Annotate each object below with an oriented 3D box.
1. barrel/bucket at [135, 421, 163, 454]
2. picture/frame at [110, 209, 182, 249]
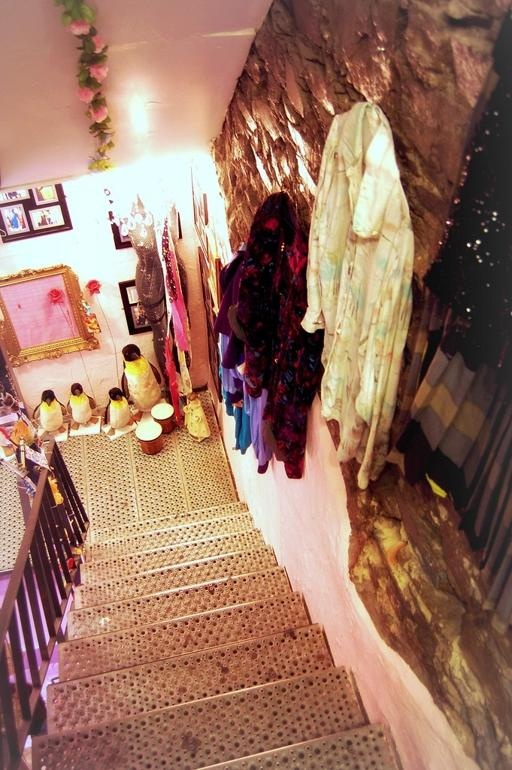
[{"bbox_3d":[-1.127,0.573,5.425,0.265,0.319,0.328,-14,35,-18],"label":"barrel/bucket"},{"bbox_3d":[-0.946,-1.369,4.428,0.405,0.413,0.030,-12,26,-23],"label":"picture/frame"}]
